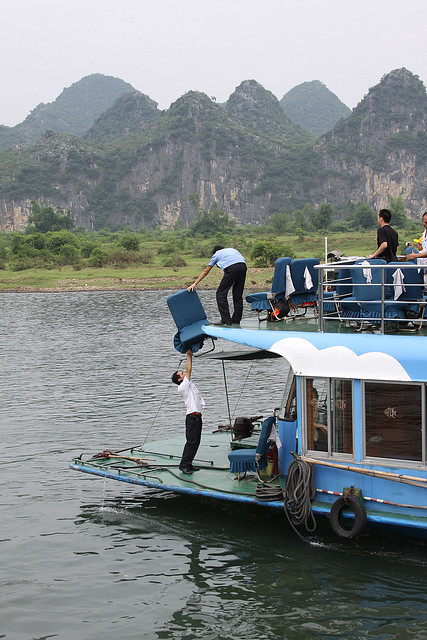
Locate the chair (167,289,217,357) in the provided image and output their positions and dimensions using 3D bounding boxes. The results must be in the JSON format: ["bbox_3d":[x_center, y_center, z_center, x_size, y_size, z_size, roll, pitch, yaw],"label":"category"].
[{"bbox_3d":[-0.363,0.062,13.567,0.734,1.098,0.712,-19,24,0],"label":"chair"}]

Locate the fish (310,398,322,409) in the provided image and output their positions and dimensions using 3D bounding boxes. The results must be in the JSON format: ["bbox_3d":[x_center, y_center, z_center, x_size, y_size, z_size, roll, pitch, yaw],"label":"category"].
[{"bbox_3d":[1.534,1.239,11.618,0.139,0.120,0.030,4,-30,2],"label":"fish"}]

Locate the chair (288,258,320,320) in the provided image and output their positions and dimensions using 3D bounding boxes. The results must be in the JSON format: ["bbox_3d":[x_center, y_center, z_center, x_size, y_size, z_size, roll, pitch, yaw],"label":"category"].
[{"bbox_3d":[1.460,-0.547,13.656,0.816,0.976,0.739,-4,4,-5],"label":"chair"}]

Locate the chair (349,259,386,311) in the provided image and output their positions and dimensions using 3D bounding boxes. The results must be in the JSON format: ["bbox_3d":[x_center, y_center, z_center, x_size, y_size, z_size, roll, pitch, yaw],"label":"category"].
[{"bbox_3d":[2.312,-0.535,11.495,0.753,0.826,0.724,0,1,13],"label":"chair"}]

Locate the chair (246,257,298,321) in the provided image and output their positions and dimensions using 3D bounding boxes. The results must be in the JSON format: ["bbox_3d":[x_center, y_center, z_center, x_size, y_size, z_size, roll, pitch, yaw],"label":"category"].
[{"bbox_3d":[0.941,-0.593,13.442,0.936,1.150,0.939,2,4,28],"label":"chair"}]

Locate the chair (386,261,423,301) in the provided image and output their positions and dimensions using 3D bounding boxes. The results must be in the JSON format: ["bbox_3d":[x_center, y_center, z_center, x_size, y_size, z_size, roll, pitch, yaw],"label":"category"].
[{"bbox_3d":[2.913,-0.596,11.743,0.547,0.763,0.694,0,11,25],"label":"chair"}]

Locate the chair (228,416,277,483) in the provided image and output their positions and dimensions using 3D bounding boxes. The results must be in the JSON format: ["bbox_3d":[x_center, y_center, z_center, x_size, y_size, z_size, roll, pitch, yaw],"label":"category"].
[{"bbox_3d":[0.638,2.094,12.653,0.770,1.051,0.482,1,8,30],"label":"chair"}]

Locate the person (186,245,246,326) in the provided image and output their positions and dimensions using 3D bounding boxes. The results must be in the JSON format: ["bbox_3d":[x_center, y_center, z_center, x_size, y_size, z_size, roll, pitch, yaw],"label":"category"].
[{"bbox_3d":[0.133,-0.665,14.236,1.271,1.499,1.125,1,-5,18],"label":"person"}]

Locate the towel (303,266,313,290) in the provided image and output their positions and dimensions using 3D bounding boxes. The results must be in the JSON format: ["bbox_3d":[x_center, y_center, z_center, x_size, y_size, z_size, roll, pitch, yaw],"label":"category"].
[{"bbox_3d":[1.633,-0.730,13.419,0.127,0.376,0.159,-2,7,8],"label":"towel"}]

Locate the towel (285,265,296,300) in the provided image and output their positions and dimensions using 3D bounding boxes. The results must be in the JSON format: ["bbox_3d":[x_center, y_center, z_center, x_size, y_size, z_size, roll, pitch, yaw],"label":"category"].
[{"bbox_3d":[1.282,-0.672,13.065,0.225,0.692,0.151,-14,45,-5],"label":"towel"}]

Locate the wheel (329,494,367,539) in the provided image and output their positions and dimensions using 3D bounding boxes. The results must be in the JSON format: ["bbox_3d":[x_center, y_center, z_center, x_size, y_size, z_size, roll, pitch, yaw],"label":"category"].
[{"bbox_3d":[1.930,2.787,10.933,0.330,0.656,0.601,-7,8,-28],"label":"wheel"}]

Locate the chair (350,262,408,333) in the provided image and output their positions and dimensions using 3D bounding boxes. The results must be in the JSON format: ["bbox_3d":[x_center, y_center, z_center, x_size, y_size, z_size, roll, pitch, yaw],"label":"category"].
[{"bbox_3d":[2.417,-0.332,11.583,0.716,1.052,0.962,0,7,23],"label":"chair"}]

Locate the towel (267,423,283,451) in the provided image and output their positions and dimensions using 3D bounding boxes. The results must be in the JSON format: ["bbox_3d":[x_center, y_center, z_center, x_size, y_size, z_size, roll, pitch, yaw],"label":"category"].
[{"bbox_3d":[0.981,1.856,12.552,0.364,0.436,0.315,0,-16,0],"label":"towel"}]
